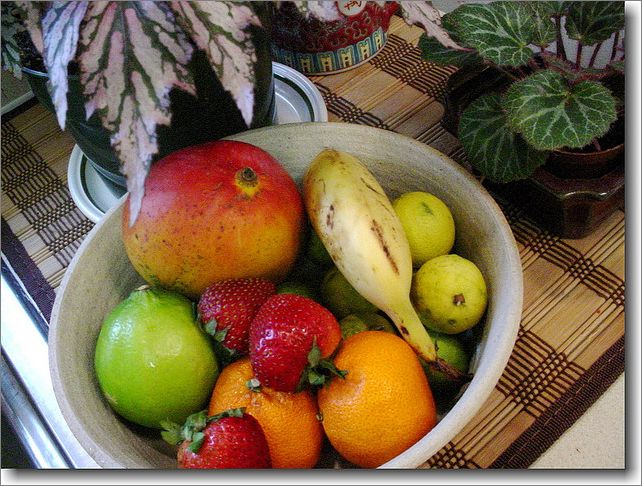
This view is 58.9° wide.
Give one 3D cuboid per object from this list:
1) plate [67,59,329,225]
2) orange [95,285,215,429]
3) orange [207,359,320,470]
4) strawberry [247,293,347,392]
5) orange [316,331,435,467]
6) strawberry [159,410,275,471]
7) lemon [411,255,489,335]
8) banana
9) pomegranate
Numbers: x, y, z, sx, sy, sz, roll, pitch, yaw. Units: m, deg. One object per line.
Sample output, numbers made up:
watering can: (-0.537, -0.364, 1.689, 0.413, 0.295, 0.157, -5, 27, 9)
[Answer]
plate: (-0.199, -0.193, 1.009, 0.369, 0.247, 0.460, -18, 43, -23)
orange: (-0.182, 0.125, 0.618, 0.121, 0.077, 0.137, -27, 59, -9)
orange: (-0.062, 0.172, 0.632, 0.109, 0.108, 0.106, -4, 86, -4)
strawberry: (-0.029, 0.100, 0.620, 0.122, 0.082, 0.099, -8, 36, -14)
orange: (0.053, 0.158, 0.582, 0.108, 0.058, 0.119, -17, 58, -3)
strawberry: (-0.101, 0.192, 0.552, 0.080, 0.072, 0.072, 6, 40, 11)
lemon: (0.137, 0.053, 0.663, 0.080, 0.092, 0.085, -15, 83, -7)
banana: (0.047, -0.007, 0.664, 0.094, 0.087, 0.329, -30, 78, 1)
pomegranate: (-0.137, -0.045, 0.743, 0.230, 0.162, 0.208, -10, 38, -14)
